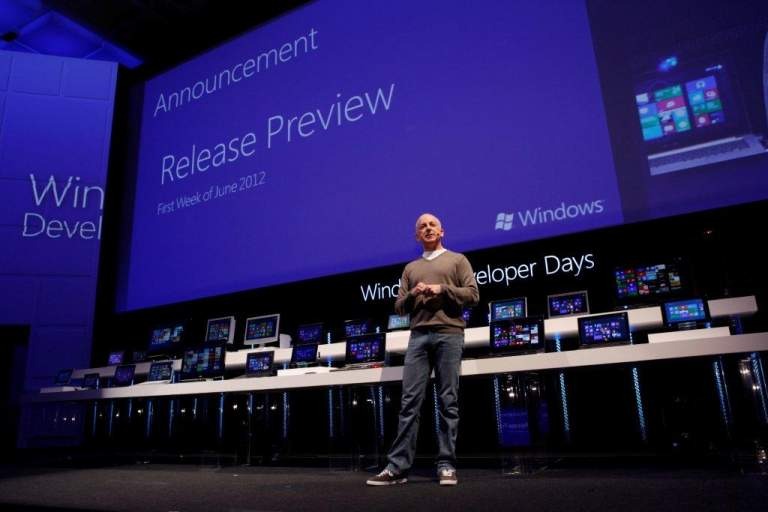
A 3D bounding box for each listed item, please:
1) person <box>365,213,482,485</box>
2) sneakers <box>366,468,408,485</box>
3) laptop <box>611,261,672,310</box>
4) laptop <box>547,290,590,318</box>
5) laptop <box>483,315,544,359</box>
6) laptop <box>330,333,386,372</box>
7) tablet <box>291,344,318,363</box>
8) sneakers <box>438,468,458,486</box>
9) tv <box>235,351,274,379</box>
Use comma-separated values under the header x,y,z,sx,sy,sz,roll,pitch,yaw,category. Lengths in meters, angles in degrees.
x,y,z,sx,sy,sz,roll,pitch,yaw,category
0.316,0.625,3.828,0.716,1.874,0.492,-19,-24,40,person
0.024,1.510,3.683,0.312,0.119,0.103,5,-17,-14,sneakers
2.173,0.260,4.500,0.378,0.262,0.110,-8,-21,15,laptop
1.594,0.426,4.643,0.248,0.167,0.033,-9,-29,22,laptop
1.050,0.660,4.316,0.368,0.229,0.051,-10,-23,23,laptop
-0.221,0.817,4.542,0.398,0.289,0.310,-7,-18,22,laptop
-0.742,0.920,5.024,0.285,0.195,0.164,-3,-30,11,tablet
0.424,1.469,3.574,0.124,0.103,0.111,-4,-18,4,sneakers
-1.181,1.072,4.965,0.362,0.240,0.214,-6,-21,17,tv
